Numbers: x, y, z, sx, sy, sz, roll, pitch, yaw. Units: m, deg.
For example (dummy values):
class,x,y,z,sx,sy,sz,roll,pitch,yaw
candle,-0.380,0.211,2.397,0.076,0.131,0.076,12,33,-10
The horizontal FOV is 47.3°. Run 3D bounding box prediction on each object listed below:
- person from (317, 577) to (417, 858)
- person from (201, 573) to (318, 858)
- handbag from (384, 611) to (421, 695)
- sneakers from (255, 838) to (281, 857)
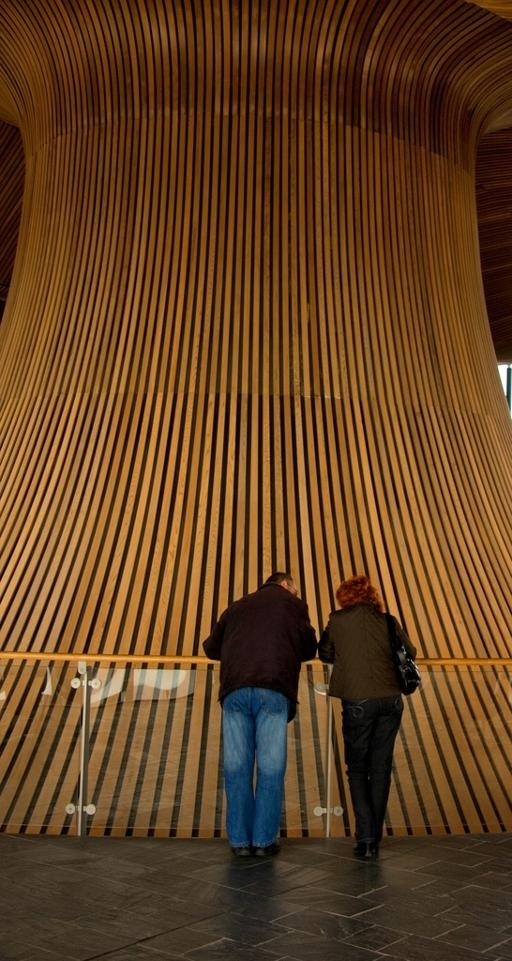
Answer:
class,x,y,z,sx,sy,sz,roll,pitch,yaw
person,0.491,1.013,2.599,0.423,1.175,0.243,0,-14,8
person,0.015,0.984,2.591,0.510,1.198,0.381,0,-14,6
handbag,0.645,0.760,2.576,0.137,0.327,0.110,-9,-18,36
sneakers,0.064,1.545,2.462,0.074,0.049,0.180,-11,-25,35
